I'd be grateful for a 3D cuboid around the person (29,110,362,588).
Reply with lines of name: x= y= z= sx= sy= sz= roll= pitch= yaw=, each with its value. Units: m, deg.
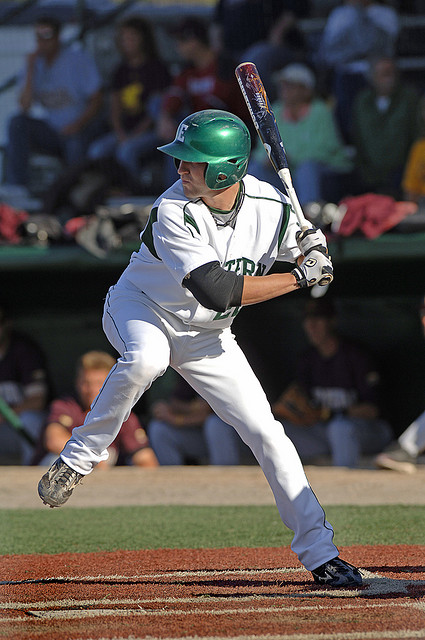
person: x=0.035 y=0.254 z=2.339 sx=0.808 sy=1.625 sz=0.847 roll=2 pitch=40 yaw=17
